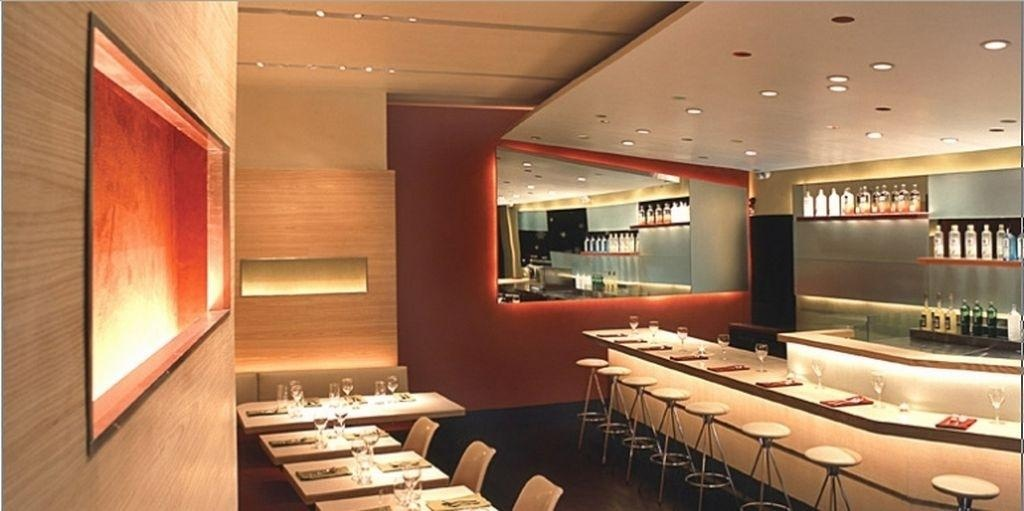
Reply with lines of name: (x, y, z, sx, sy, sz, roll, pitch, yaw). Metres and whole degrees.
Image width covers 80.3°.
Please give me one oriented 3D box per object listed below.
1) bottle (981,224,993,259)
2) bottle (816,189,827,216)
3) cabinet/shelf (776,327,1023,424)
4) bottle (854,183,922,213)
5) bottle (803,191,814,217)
bottle: (5.603, -0.165, 7.158, 0.130, 0.405, 0.241, 6, 10, 35)
bottle: (4.634, -0.807, 9.094, 0.149, 0.376, 0.149, 0, 8, 0)
cabinet/shelf: (3.565, 1.089, 5.621, 0.507, 0.512, 1.741, -7, 9, -43)
bottle: (5.113, -0.774, 8.192, 0.140, 0.227, 0.595, 4, -3, -23)
bottle: (4.517, -0.792, 9.251, 0.145, 0.380, 0.170, 0, 8, 1)
